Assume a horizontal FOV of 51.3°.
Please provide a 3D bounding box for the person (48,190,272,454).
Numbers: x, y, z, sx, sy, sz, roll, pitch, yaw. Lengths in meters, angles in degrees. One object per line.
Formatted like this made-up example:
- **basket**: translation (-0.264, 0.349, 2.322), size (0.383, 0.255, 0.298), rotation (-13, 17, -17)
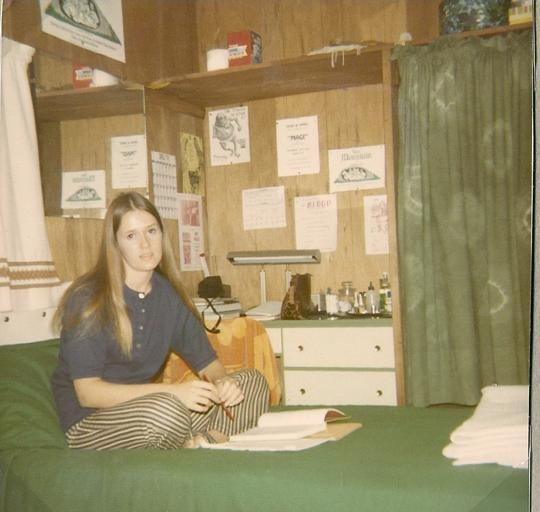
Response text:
- **person**: translation (-0.451, 0.170, 2.287), size (0.808, 1.052, 0.878), rotation (-5, -3, 18)

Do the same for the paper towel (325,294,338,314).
- **paper towel**: translation (0.353, 0.265, 3.236), size (0.074, 0.111, 0.160), rotation (-6, 5, 6)

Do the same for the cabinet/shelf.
- **cabinet/shelf**: translation (0.339, 0.559, 2.925), size (0.432, 0.427, 0.172), rotation (-2, -4, 17)

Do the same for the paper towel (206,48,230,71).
- **paper towel**: translation (-0.315, -1.174, 3.434), size (0.155, 0.160, 0.151), rotation (-1, 4, 1)

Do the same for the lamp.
- **lamp**: translation (0.027, 0.166, 3.685), size (0.550, 0.410, 0.326), rotation (-1, 13, 2)
